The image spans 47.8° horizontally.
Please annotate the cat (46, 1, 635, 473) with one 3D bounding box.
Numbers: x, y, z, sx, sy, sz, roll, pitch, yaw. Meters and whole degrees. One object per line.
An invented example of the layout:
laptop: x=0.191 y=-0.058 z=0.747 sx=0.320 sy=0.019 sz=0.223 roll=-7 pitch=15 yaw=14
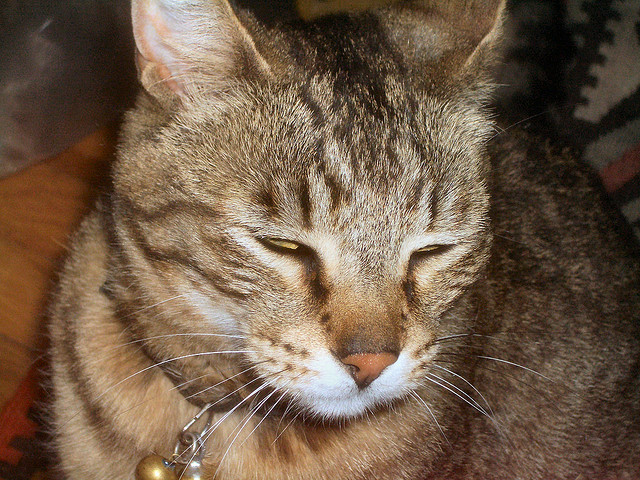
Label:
cat: x=0.069 y=-0.108 z=1.399 sx=0.683 sy=0.712 sz=0.969 roll=0 pitch=64 yaw=0
